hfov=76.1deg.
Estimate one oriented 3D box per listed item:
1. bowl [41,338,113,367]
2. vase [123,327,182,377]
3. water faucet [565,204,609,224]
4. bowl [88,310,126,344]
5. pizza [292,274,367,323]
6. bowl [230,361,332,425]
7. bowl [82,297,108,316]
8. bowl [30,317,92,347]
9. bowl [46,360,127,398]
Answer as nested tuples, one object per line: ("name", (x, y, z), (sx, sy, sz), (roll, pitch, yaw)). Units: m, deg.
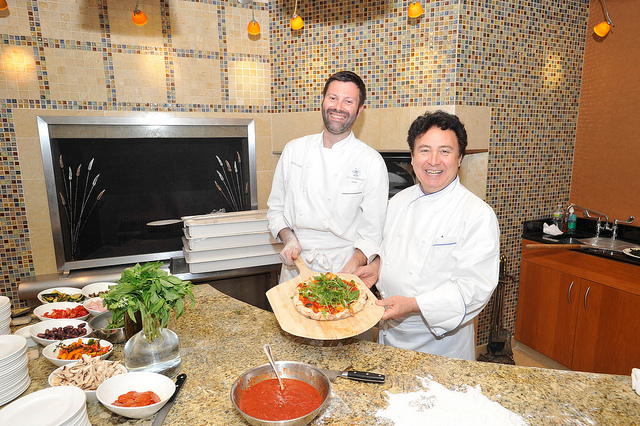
("bowl", (-1.154, 0.651, 1.940), (0.177, 0.050, 0.182), (6, 5, -1))
("vase", (-0.754, 0.598, 1.924), (0.241, 0.253, 0.237), (0, -1, -5))
("water faucet", (2.544, 0.016, 3.878), (0.307, 0.132, 0.051), (20, 43, 39))
("bowl", (-1.093, 0.586, 2.128), (0.186, 0.070, 0.189), (3, 9, 0))
("pizza", (0.061, 0.454, 2.144), (0.245, 0.059, 0.255), (-12, 23, -22))
("bowl", (-0.167, 0.754, 1.712), (0.397, 0.157, 0.282), (1, 12, 18))
("bowl", (-1.200, 0.502, 2.176), (0.146, 0.054, 0.148), (5, 7, -1))
("bowl", (-1.315, 0.591, 2.056), (0.181, 0.067, 0.184), (5, 6, -1))
("bowl", (-1.034, 0.711, 1.763), (0.187, 0.074, 0.191), (3, 1, 0))
